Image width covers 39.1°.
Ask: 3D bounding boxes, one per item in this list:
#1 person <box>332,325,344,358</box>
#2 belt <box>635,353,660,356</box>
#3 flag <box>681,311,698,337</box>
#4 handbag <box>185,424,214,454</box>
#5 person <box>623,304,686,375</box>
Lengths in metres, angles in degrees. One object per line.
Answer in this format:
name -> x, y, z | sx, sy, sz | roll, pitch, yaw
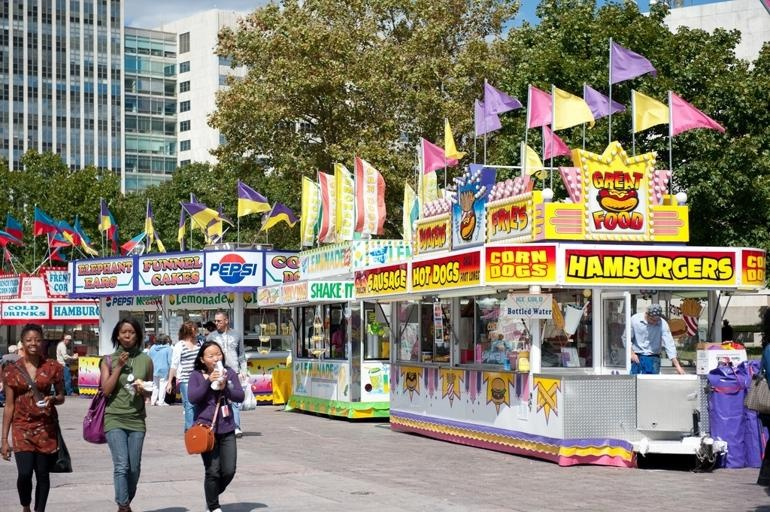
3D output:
person -> -1.247, 2.343, 29.359 | 0.176, 0.799, 0.708 | -3, 8, -18
belt -> 5.481, 2.040, 22.572 | 0.497, 0.084, 0.045 | -1, 8, -6
flag -> 6.599, 1.449, 23.473 | 0.481, 0.600, 0.078 | -6, 15, -1
handbag -> -2.983, 2.933, 17.405 | 0.457, 0.483, 0.331 | -2, 8, -9
person -> 5.598, 1.745, 22.559 | 0.998, 1.449, 0.743 | 0, 8, 4
